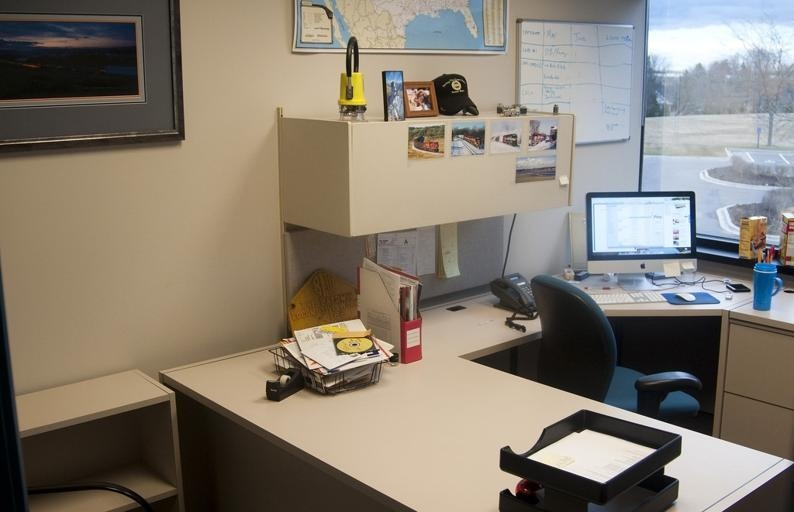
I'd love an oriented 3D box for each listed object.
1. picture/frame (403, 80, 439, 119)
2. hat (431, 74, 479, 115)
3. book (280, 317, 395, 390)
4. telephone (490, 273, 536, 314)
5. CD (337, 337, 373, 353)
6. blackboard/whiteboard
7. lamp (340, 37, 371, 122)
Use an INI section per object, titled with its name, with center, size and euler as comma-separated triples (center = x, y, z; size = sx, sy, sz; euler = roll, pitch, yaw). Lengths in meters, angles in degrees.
[picture/frame]
center = 0.108, -0.742, 2.782
size = 0.230, 0.199, 0.037
euler = -10, 6, -37
[hat]
center = 0.273, -0.838, 3.029
size = 0.174, 0.154, 0.266
euler = -16, 31, -29
[book]
center = -0.299, 0.419, 2.557
size = 0.308, 0.118, 0.333
euler = -13, 25, -31
[telephone]
center = 0.722, 0.207, 3.413
size = 0.291, 0.117, 0.353
euler = 10, 17, 30
[CD]
center = -0.190, 0.391, 2.553
size = 0.084, 0.021, 0.084
euler = 2, 25, 1
[blackboard/whiteboard]
center = 1.198, -1.122, 3.814
size = 1.056, 0.782, 0.112
euler = -12, 19, -29
[lamp]
center = -0.213, -0.808, 2.654
size = 0.113, 0.358, 0.186
euler = -4, 16, -5
